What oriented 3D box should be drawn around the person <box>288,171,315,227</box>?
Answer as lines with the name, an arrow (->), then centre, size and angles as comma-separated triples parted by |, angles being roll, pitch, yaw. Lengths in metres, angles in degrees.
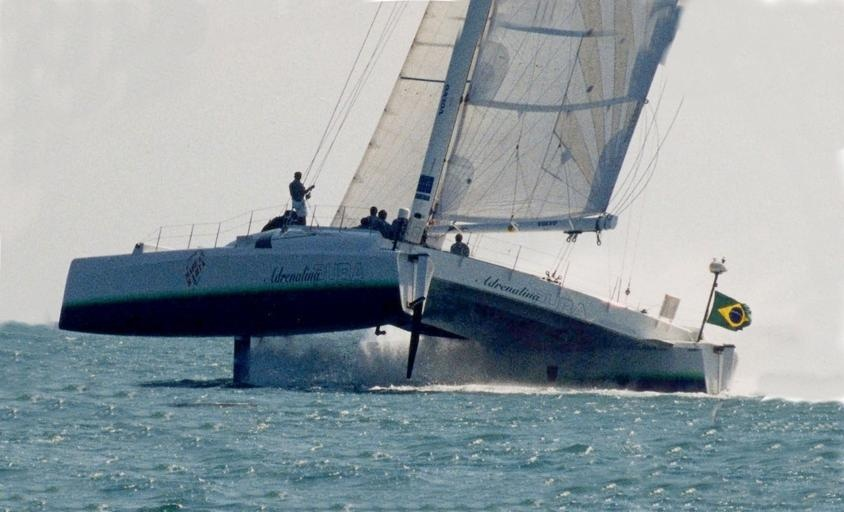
person -> -2.878, -1.254, 38.686 | 0.708, 0.703, 1.445 | 0, -78, 12
